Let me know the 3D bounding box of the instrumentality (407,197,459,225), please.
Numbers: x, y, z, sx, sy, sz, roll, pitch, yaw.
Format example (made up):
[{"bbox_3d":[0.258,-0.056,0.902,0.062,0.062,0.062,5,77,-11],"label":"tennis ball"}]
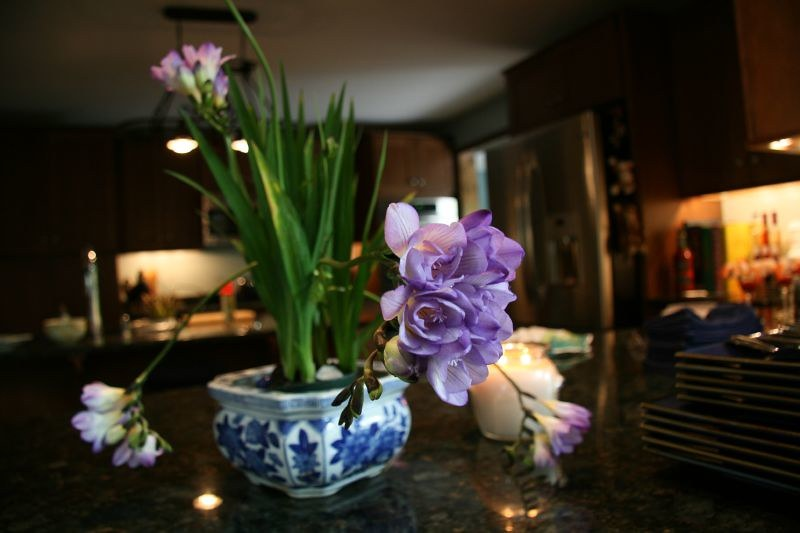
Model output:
[{"bbox_3d":[0.049,-0.086,0.868,0.062,0.046,0.034,-1,-4,-33],"label":"instrumentality"}]

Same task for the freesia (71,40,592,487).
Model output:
[{"bbox_3d":[-0.069,-0.001,0.763,0.592,0.531,0.395,-3,1,19],"label":"freesia"}]
